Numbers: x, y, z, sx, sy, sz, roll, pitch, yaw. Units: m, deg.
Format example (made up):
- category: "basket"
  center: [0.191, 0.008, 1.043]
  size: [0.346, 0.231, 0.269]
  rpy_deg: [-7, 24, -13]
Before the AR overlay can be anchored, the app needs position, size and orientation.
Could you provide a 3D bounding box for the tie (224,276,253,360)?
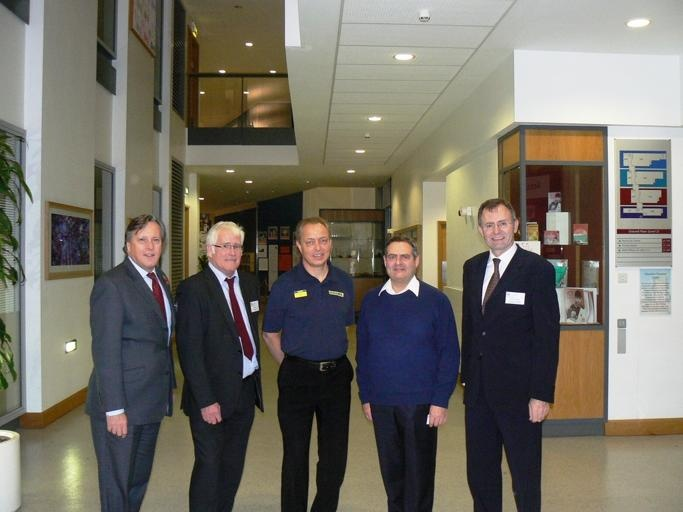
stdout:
- category: "tie"
  center: [-0.798, 0.456, 4.380]
  size: [0.182, 0.647, 0.048]
  rpy_deg: [-3, -27, -32]
